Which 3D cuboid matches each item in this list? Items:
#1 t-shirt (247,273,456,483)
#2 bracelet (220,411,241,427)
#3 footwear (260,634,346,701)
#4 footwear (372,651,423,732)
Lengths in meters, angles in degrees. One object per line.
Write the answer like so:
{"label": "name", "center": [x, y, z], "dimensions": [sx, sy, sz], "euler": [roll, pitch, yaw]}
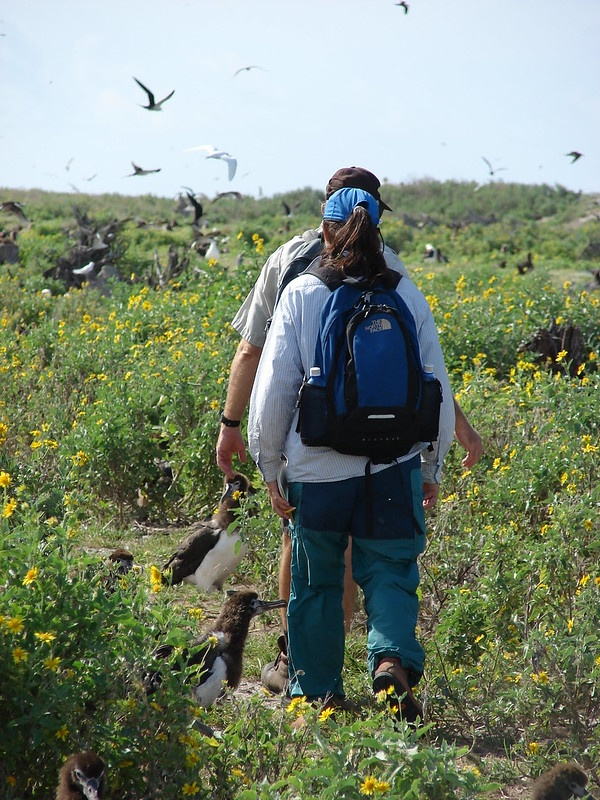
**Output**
{"label": "t-shirt", "center": [0.160, -0.068, 3.983], "dimensions": [0.937, 0.865, 0.476], "euler": [0, -2, -11]}
{"label": "bracelet", "center": [-0.285, 0.079, 4.621], "dimensions": [0.059, 0.022, 0.057], "euler": [11, 15, -36]}
{"label": "footwear", "center": [0.002, 1.138, 4.756], "dimensions": [0.120, 0.239, 0.261], "euler": [7, -1, -19]}
{"label": "footwear", "center": [0.301, 0.933, 3.650], "dimensions": [0.096, 0.273, 0.121], "euler": [-16, 34, 20]}
